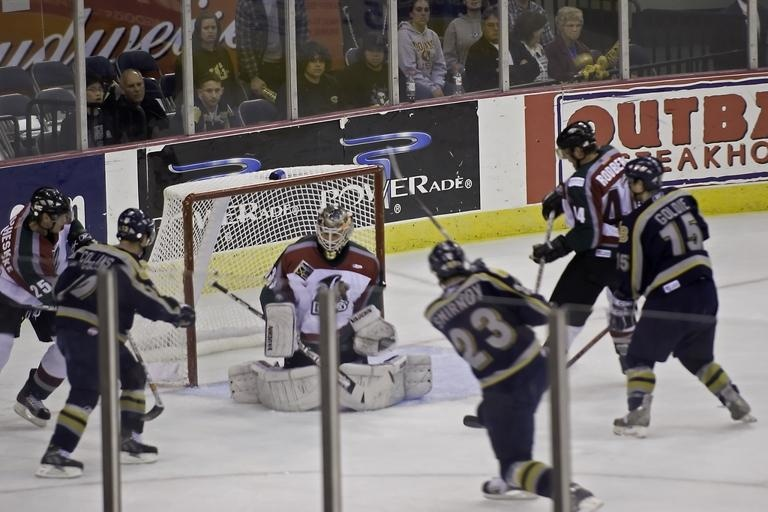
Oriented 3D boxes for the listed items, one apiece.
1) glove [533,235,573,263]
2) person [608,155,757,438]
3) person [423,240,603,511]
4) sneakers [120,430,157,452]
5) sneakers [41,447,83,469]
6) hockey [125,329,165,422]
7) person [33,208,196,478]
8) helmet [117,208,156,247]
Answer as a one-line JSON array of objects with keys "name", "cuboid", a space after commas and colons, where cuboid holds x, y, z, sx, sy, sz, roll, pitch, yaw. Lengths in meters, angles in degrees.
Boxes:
[{"name": "glove", "cuboid": [0.945, -0.048, 6.835, 0.224, 0.121, 0.068, -6, 26, 24]}, {"name": "person", "cuboid": [1.421, 0.146, 5.895, 0.646, 1.291, 0.880, -2, 4, 6]}, {"name": "person", "cuboid": [0.535, 0.484, 5.282, 0.630, 1.124, 0.314, 0, 5, 40]}, {"name": "sneakers", "cuboid": [-1.157, 0.853, 5.524, 0.132, 0.071, 0.235, -5, 4, -42]}, {"name": "sneakers", "cuboid": [-1.443, 0.894, 5.358, 0.218, 0.078, 0.084, 0, 4, 38]}, {"name": "hockey", "cuboid": [-1.230, 0.615, 6.142, 0.117, 0.467, 0.067, -25, 27, 3]}, {"name": "person", "cuboid": [-1.277, 0.361, 5.629, 0.578, 1.160, 0.967, -2, 4, 18]}, {"name": "helmet", "cuboid": [-1.288, -0.152, 6.102, 0.168, 0.183, 0.202, 17, 3, 17]}]
